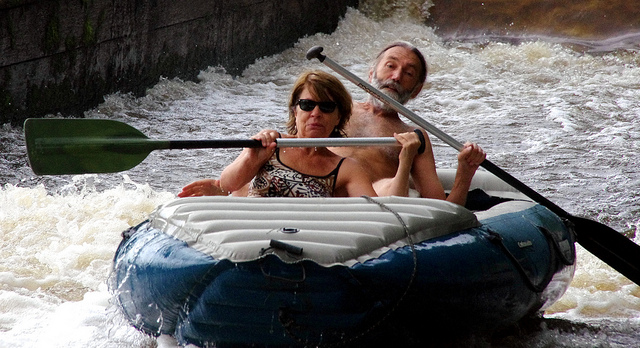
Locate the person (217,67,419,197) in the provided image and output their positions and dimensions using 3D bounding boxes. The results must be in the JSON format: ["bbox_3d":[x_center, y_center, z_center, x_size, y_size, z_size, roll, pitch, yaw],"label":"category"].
[{"bbox_3d":[-0.012,-0.308,6.129,1.477,0.945,0.664,0,7,4],"label":"person"}]
